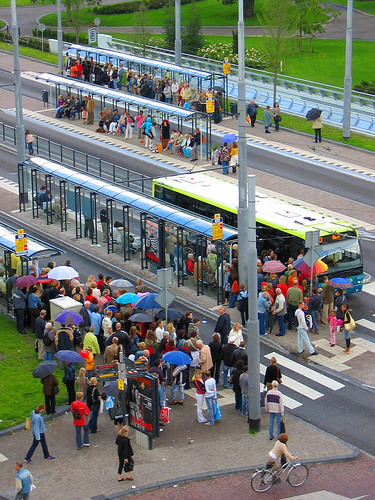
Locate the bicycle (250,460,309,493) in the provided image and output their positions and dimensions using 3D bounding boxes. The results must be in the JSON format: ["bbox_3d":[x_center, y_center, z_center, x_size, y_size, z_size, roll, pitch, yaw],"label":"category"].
[{"bbox_3d":[1.804,4.528,21.663,1.095,0.691,0.570,-12,23,-11],"label":"bicycle"}]

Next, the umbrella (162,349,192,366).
[{"bbox_3d":[-0.261,2.548,25.240,0.637,0.335,0.520,-3,10,-4],"label":"umbrella"}]

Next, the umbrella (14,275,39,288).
[{"bbox_3d":[-4.398,0.920,29.709,0.720,0.321,0.427,-9,12,-30],"label":"umbrella"}]

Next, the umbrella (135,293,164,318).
[{"bbox_3d":[-1.045,1.439,28.489,0.430,0.402,0.447,3,11,22],"label":"umbrella"}]

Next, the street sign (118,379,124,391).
[{"bbox_3d":[-1.420,2.893,23.232,0.034,0.332,0.326,-2,3,-27],"label":"street sign"}]

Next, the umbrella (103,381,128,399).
[{"bbox_3d":[-1.620,3.028,23.806,0.430,0.460,0.285,2,-36,-24],"label":"umbrella"}]

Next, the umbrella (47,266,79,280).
[{"bbox_3d":[-3.503,0.713,30.454,0.859,0.332,0.669,-6,11,-18],"label":"umbrella"}]

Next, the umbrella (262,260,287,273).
[{"bbox_3d":[2.457,0.560,31.101,0.634,0.360,0.744,-2,11,2],"label":"umbrella"}]

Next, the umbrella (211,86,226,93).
[{"bbox_3d":[1.565,-7.895,53.892,0.409,0.175,0.435,4,-1,22],"label":"umbrella"}]

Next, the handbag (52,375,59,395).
[{"bbox_3d":[-3.063,3.152,25.192,0.115,0.492,0.279,-3,10,-7],"label":"handbag"}]

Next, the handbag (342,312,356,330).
[{"bbox_3d":[4.275,1.893,28.841,0.277,0.465,0.282,-1,10,6],"label":"handbag"}]

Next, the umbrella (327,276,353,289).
[{"bbox_3d":[4.271,0.989,30.373,0.493,0.311,0.690,-5,11,-14],"label":"umbrella"}]

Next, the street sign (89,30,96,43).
[{"bbox_3d":[-6.157,-13.722,70.274,0.114,0.894,0.765,11,17,31],"label":"street sign"}]

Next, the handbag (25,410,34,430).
[{"bbox_3d":[-3.345,3.654,22.936,0.214,0.388,0.318,-2,18,-23],"label":"handbag"}]

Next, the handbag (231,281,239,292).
[{"bbox_3d":[1.398,1.118,32.053,0.204,0.356,0.135,-4,10,-8],"label":"handbag"}]

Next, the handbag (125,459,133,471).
[{"bbox_3d":[-1.177,4.299,21.744,0.110,0.231,0.196,-5,15,-32],"label":"handbag"}]

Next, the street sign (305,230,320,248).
[{"bbox_3d":[3.446,-0.270,30.059,0.418,0.432,0.034,-8,18,-29],"label":"street sign"}]

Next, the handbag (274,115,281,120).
[{"bbox_3d":[4.268,-6.230,51.787,0.341,0.205,0.226,-1,6,0],"label":"handbag"}]

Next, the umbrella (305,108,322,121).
[{"bbox_3d":[5.617,-6.027,48.943,0.586,0.635,0.531,2,-20,27],"label":"umbrella"}]

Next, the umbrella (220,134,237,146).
[{"bbox_3d":[1.744,-4.561,45.341,0.616,0.288,0.725,-2,11,2],"label":"umbrella"}]

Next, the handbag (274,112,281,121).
[{"bbox_3d":[4.284,-6.234,51.822,0.216,0.475,0.327,-15,25,-25],"label":"handbag"}]

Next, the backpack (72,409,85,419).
[{"bbox_3d":[-2.338,3.516,23.343,0.142,0.207,0.207,-9,5,-20],"label":"backpack"}]

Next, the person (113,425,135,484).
[{"bbox_3d":[-1.256,4.085,21.718,0.305,1.108,0.429,-7,13,-35],"label":"person"}]

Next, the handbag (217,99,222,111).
[{"bbox_3d":[1.484,-6.860,52.128,0.114,0.451,0.427,-18,-9,9],"label":"handbag"}]

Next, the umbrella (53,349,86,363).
[{"bbox_3d":[-2.758,2.525,25.451,0.606,0.330,0.813,-2,11,1],"label":"umbrella"}]

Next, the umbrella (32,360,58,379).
[{"bbox_3d":[-3.199,2.768,24.495,0.460,0.410,0.625,1,11,17],"label":"umbrella"}]

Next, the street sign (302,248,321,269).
[{"bbox_3d":[3.474,0.283,30.423,0.504,0.543,0.032,-6,19,-24],"label":"street sign"}]

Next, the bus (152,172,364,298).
[{"bbox_3d":[1.719,-0.551,36.892,2.370,2.659,10.021,-11,19,-30],"label":"bus"}]
